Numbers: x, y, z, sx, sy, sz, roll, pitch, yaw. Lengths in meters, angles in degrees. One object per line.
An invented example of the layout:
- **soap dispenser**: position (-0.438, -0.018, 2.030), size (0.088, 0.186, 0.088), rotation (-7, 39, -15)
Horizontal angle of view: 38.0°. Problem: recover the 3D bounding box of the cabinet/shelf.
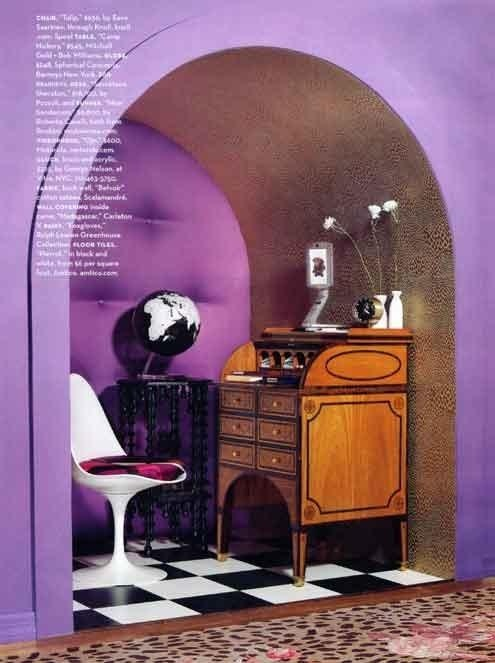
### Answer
- **cabinet/shelf**: position (0.230, 0.561, 3.794), size (0.733, 1.166, 1.188), rotation (0, -1, -35)
